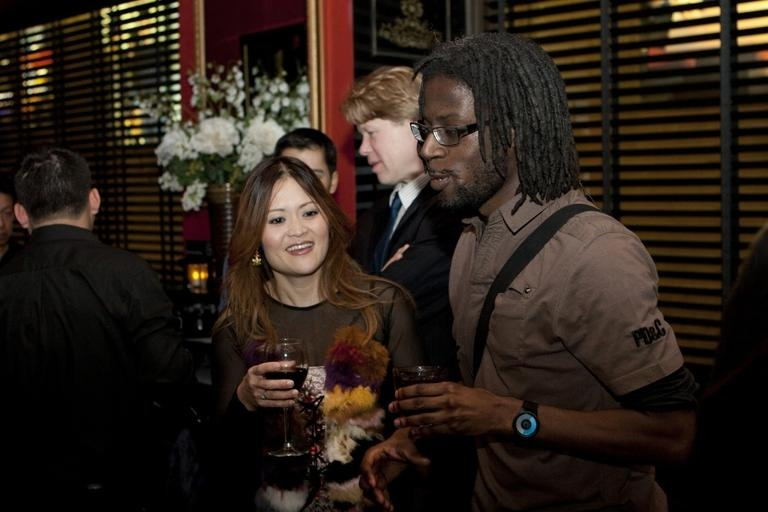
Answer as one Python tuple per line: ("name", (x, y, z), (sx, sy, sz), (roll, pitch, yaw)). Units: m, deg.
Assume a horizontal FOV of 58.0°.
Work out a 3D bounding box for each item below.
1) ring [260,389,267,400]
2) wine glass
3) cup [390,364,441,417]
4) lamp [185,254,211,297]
("ring", (-0.460, 0.533, 2.642), (0.031, 0.029, 0.008), (-8, -10, 38))
("wine glass", (-0.375, 0.533, 2.686), (0.169, 0.428, 0.247), (-1, 5, -2))
("cup", (0.097, 0.462, 2.381), (0.173, 0.162, 0.152), (-4, -6, -3))
("lamp", (-1.241, 0.147, 4.645), (0.209, 0.273, 0.208), (3, -7, -38))
